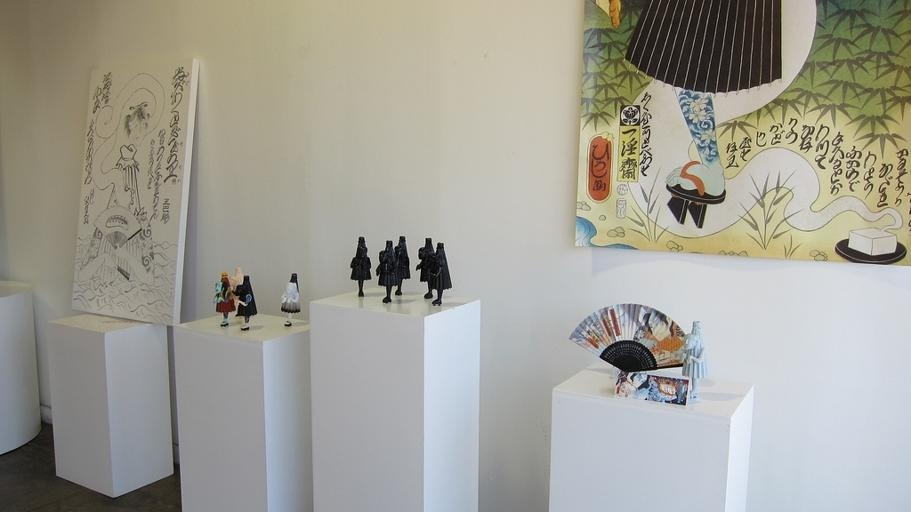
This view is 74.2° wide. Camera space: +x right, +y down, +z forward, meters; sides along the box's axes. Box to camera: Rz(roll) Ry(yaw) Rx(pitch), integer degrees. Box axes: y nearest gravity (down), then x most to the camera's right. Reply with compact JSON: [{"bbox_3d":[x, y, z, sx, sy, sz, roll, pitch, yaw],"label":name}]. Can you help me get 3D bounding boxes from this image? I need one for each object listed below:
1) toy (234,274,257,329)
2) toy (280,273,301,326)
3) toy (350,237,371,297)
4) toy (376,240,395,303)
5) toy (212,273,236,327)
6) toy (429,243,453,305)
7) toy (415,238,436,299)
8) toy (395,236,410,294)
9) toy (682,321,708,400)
[{"bbox_3d":[-1.372,0.302,3.938,0.145,0.338,0.140,0,-3,-14],"label":"toy"},{"bbox_3d":[-1.077,0.284,3.961,0.097,0.340,0.169,1,3,-9],"label":"toy"},{"bbox_3d":[-0.595,0.058,3.806,0.105,0.364,0.308,1,2,-9],"label":"toy"},{"bbox_3d":[-0.416,0.090,3.649,0.112,0.366,0.224,1,3,-17],"label":"toy"},{"bbox_3d":[-1.534,0.279,4.007,0.120,0.345,0.260,0,3,-21],"label":"toy"},{"bbox_3d":[-0.087,0.101,3.632,0.109,0.364,0.249,1,2,-1],"label":"toy"},{"bbox_3d":[-0.163,0.070,3.609,0.135,0.335,0.116,0,-3,35],"label":"toy"},{"bbox_3d":[-0.326,0.059,3.701,0.078,0.359,0.171,1,3,-6],"label":"toy"},{"bbox_3d":[1.298,0.553,3.224,0.103,0.406,0.279,3,3,34],"label":"toy"}]
